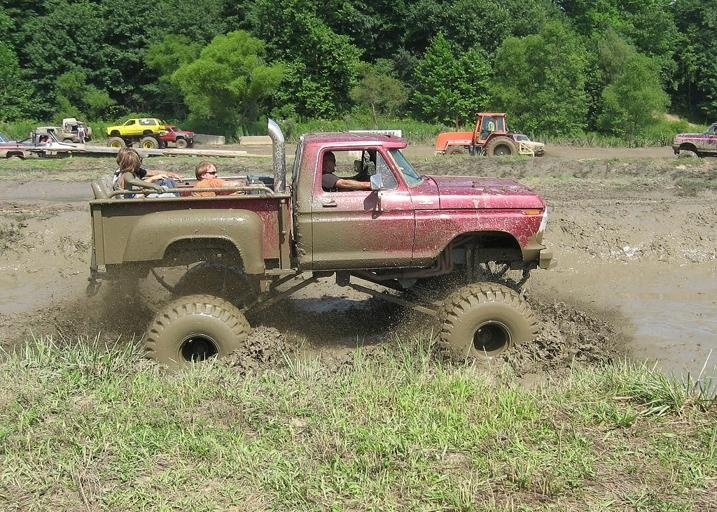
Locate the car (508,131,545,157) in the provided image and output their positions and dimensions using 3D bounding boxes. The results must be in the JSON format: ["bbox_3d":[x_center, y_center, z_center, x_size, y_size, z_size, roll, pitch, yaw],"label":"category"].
[{"bbox_3d":[7.568,-4.966,34.324,1.791,1.057,1.219,-1,21,-1],"label":"car"}]

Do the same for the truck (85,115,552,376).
[{"bbox_3d":[-0.504,-0.418,11.193,5.858,2.926,3.288,-2,10,-4],"label":"truck"}]

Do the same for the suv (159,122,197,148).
[{"bbox_3d":[-10.484,-6.778,43.684,1.872,0.990,1.080,-2,13,4],"label":"suv"}]

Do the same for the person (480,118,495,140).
[{"bbox_3d":[5.551,-5.446,32.925,0.569,0.954,0.348,3,-12,20],"label":"person"}]

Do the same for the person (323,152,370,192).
[{"bbox_3d":[-0.170,-1.103,10.538,0.804,0.524,0.587,2,10,-9],"label":"person"}]

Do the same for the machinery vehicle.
[{"bbox_3d":[5.207,-5.009,33.578,3.481,2.410,2.218,1,2,6],"label":"machinery vehicle"}]
